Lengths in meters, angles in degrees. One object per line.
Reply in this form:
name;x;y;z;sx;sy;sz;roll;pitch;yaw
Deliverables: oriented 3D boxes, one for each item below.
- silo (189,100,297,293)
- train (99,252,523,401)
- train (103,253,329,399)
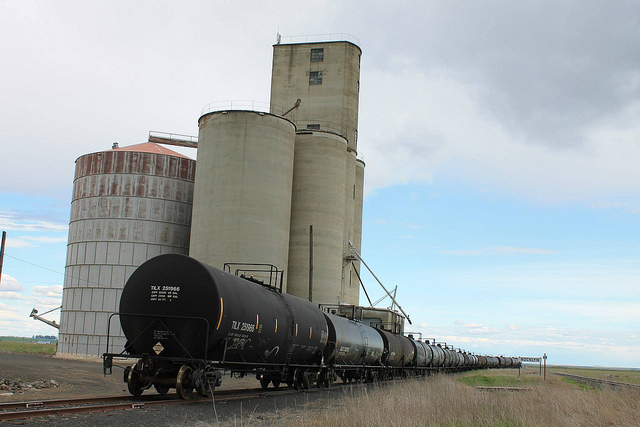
silo;-7.921;-1.383;57.356;8.752;25.144;10.366;17;-30;-31
train;6.820;12.832;50.288;6.780;6.026;67.060;-3;-16;26
train;-3.619;5.935;26.128;4.386;5.833;12.573;-4;-16;30
